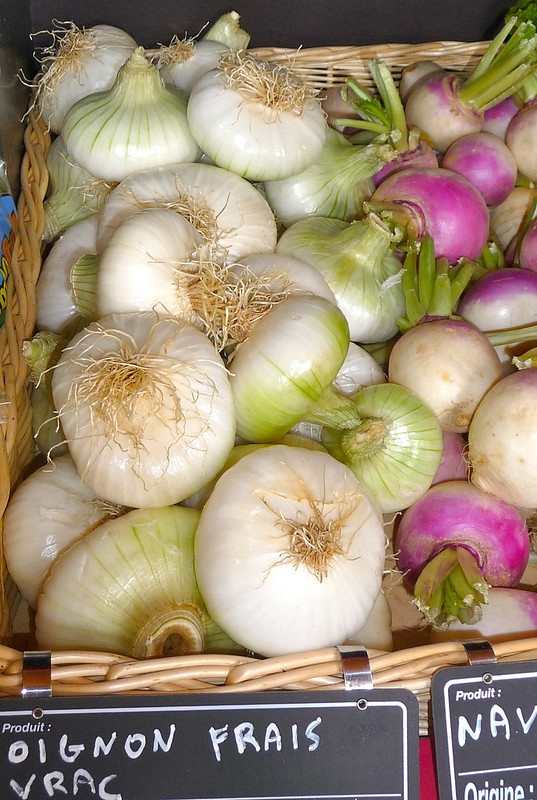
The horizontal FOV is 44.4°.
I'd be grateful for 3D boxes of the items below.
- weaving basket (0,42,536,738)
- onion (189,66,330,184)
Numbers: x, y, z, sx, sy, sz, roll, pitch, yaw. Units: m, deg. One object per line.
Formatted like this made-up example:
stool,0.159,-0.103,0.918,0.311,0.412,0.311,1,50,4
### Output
weaving basket,-0.009,-0.008,0.815,0.768,0.204,0.859,1,80,-11
onion,-0.018,-0.378,0.918,0.162,0.171,0.103,-15,20,-3
